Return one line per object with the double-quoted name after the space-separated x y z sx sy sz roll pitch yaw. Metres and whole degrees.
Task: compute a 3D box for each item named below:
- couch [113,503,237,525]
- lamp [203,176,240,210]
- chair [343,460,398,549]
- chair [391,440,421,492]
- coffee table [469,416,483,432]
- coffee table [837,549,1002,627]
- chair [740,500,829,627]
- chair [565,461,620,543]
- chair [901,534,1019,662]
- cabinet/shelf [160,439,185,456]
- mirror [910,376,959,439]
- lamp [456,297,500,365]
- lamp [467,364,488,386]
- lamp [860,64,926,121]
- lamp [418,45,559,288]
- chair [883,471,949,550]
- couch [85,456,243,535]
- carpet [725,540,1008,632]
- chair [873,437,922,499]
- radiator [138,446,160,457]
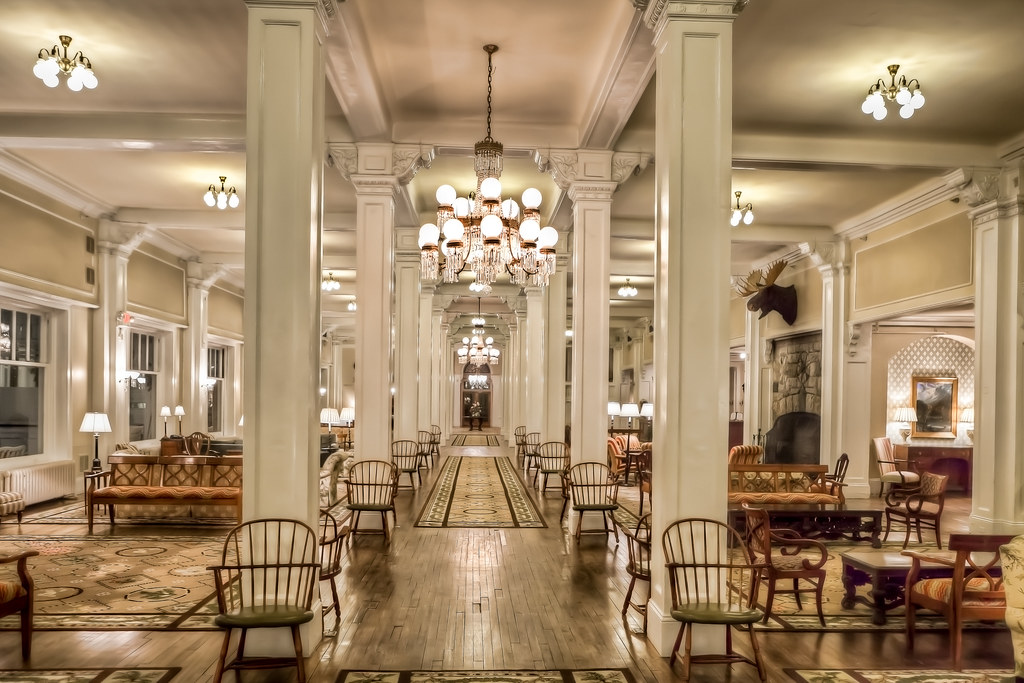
-5.010 2.595 10.791 1.897 0.325 0.604 1 -9 0 "couch"
-4.826 -2.497 11.831 0.593 0.516 0.595 4 2 26 "lamp"
-1.943 2.184 9.852 0.664 1.114 0.832 3 -8 -12 "chair"
-2.039 2.246 13.344 0.681 0.846 0.631 3 -1 -17 "chair"
-1.633 3.687 32.430 0.578 0.554 0.472 3 -6 -8 "coffee table"
4.114 2.508 7.697 0.882 0.520 1.108 0 -5 5 "coffee table"
2.924 2.399 7.687 0.794 1.099 0.802 3 -6 -2 "chair"
1.135 2.241 9.917 0.761 1.002 0.710 1 -3 -8 "chair"
4.507 2.458 7.086 1.042 1.092 1.087 -4 -11 43 "chair"
-6.159 1.900 12.985 0.546 0.368 0.288 0 -1 -5 "cabinet/shelf"
8.851 1.412 14.997 1.312 1.717 0.140 2 -5 -7 "mirror"
-1.232 -0.336 26.017 1.554 2.453 1.499 1 0 -3 "lamp"
-1.579 1.538 32.983 1.035 1.016 0.469 2 -8 -5 "lamp"
4.414 -2.929 8.246 0.692 0.485 0.638 8 20 36 "lamp"
-0.283 -2.213 8.973 1.675 2.851 1.689 -1 6 -26 "lamp"
5.929 2.484 10.484 0.692 0.972 0.728 1 -5 1 "chair"
-5.140 2.268 10.825 2.229 0.911 0.780 2 0 -8 "couch"
4.337 2.579 8.640 2.164 0.522 2.235 10 -2 -28 "carpet"
7.615 2.501 14.102 0.785 1.024 0.715 2 3 44 "chair"
-7.000 2.097 13.699 0.348 0.321 0.245 2 -3 -5 "radiator"
